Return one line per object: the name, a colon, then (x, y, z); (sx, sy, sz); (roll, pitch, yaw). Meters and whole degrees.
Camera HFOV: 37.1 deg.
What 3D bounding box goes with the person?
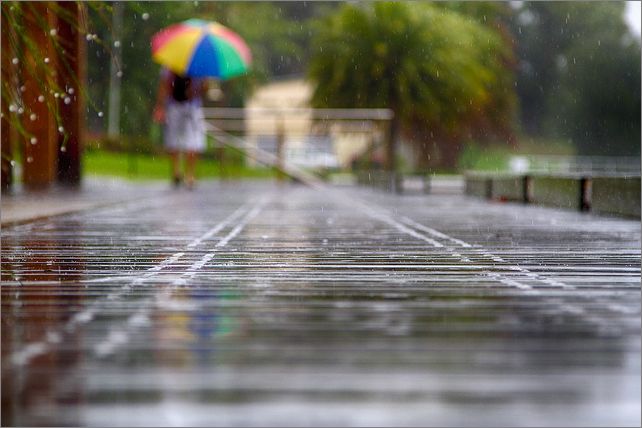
person: (-1.431, -1.163, 11.202); (0.571, 1.926, 0.460); (5, -32, -16)
